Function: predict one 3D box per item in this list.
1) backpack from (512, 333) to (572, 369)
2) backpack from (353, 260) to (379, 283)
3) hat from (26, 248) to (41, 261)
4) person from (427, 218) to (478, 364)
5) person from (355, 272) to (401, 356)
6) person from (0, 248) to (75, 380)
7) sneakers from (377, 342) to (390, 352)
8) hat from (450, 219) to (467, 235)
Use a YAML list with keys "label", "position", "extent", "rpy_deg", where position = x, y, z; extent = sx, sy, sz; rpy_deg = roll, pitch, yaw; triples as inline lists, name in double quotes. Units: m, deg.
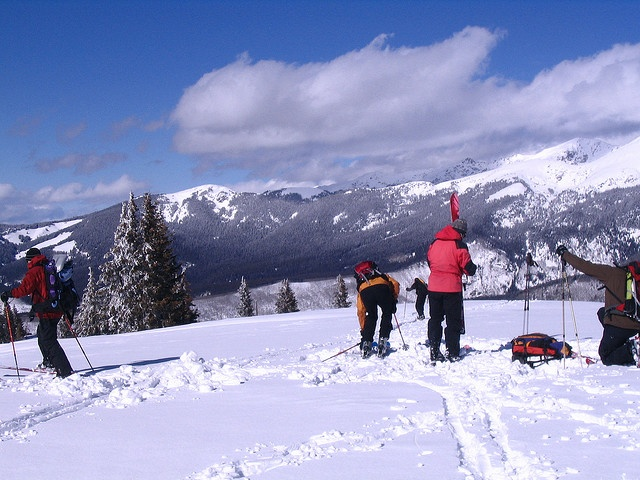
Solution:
- label: "backpack"
  position: [4.357, 2.185, 12.628]
  extent: [0.825, 0.378, 0.645]
  rpy_deg: [2, 2, 35]
- label: "backpack"
  position: [1.067, 0.720, 14.498]
  extent: [0.414, 0.579, 0.505]
  rpy_deg: [9, 0, 9]
- label: "hat"
  position: [-5.779, 0.267, 12.912]
  extent: [0.224, 0.298, 0.287]
  rpy_deg: [1, 24, -30]
- label: "person"
  position: [2.841, 1.106, 13.695]
  extent: [1.086, 3.035, 1.025]
  rpy_deg: [0, -5, 43]
- label: "person"
  position: [1.300, 1.593, 14.174]
  extent: [0.924, 1.916, 1.235]
  rpy_deg: [-1, -1, 9]
- label: "person"
  position: [-5.427, 1.416, 12.598]
  extent: [1.196, 2.524, 0.867]
  rpy_deg: [-2, -2, 30]
- label: "sneakers"
  position: [1.376, 2.344, 13.799]
  extent: [0.255, 0.347, 0.142]
  rpy_deg: [0, -2, -34]
- label: "hat"
  position: [3.003, -0.289, 13.698]
  extent: [0.264, 0.284, 0.349]
  rpy_deg: [21, 15, 35]
